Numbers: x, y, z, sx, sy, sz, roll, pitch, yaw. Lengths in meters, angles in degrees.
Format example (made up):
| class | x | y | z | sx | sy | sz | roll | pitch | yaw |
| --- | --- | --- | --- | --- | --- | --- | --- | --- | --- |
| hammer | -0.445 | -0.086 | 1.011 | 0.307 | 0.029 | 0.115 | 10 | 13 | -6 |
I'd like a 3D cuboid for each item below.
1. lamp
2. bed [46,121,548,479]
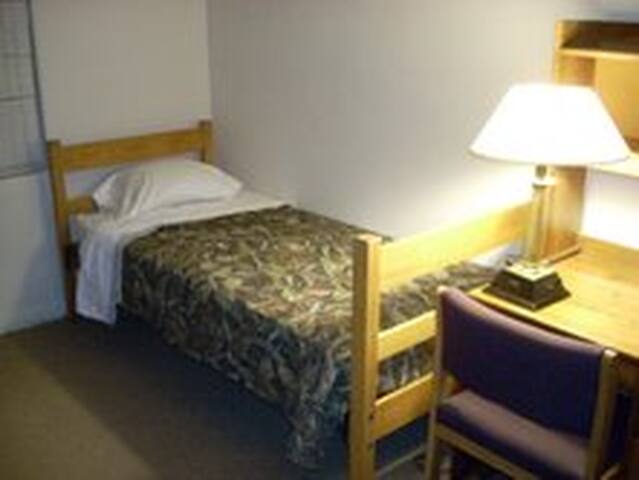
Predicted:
| class | x | y | z | sx | sy | sz | roll | pitch | yaw |
| --- | --- | --- | --- | --- | --- | --- | --- | --- | --- |
| lamp | 0.848 | -0.157 | 1.924 | 0.546 | 0.821 | 0.278 | 5 | 20 | 15 |
| bed | -0.497 | 0.147 | 3.260 | 1.560 | 1.547 | 2.980 | -17 | 31 | -39 |
